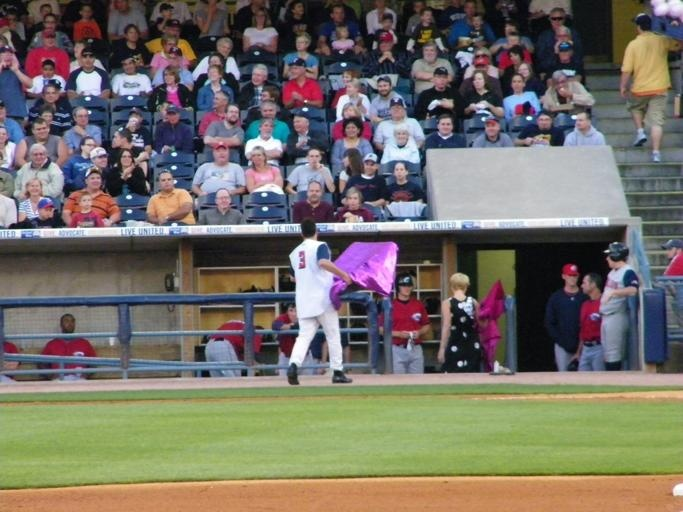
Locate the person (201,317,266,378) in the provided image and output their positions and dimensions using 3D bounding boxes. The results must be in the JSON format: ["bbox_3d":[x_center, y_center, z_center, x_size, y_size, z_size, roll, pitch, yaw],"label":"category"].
[{"bbox_3d":[-1.692,1.452,37.111,0.854,0.925,1.098,-2,-7,-4],"label":"person"}]

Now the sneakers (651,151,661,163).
[{"bbox_3d":[5.428,-1.661,40.019,0.164,0.203,0.507,0,4,9],"label":"sneakers"}]

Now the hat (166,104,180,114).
[{"bbox_3d":[-2.880,-2.503,40.343,0.232,0.192,0.350,-2,-7,-4],"label":"hat"}]

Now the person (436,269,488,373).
[{"bbox_3d":[1.897,1.070,37.017,0.653,1.501,0.489,-2,-7,-1],"label":"person"}]

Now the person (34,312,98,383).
[{"bbox_3d":[-4.358,1.437,37.591,0.859,1.145,1.066,0,-7,-15],"label":"person"}]

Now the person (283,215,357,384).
[{"bbox_3d":[-0.333,0.697,35.360,0.968,2.441,0.743,-2,-7,-2],"label":"person"}]

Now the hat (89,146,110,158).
[{"bbox_3d":[-4.057,-1.707,39.396,0.236,0.220,0.222,0,-7,-15],"label":"hat"}]

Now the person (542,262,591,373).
[{"bbox_3d":[3.804,1.393,38.169,0.864,2.451,0.687,-5,22,-6],"label":"person"}]

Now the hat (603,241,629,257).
[{"bbox_3d":[4.441,-0.091,37.312,0.302,0.167,0.217,8,2,15],"label":"hat"}]

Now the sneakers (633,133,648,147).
[{"bbox_3d":[5.167,-1.946,40.125,0.126,0.227,0.332,7,-6,-4],"label":"sneakers"}]

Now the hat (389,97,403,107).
[{"bbox_3d":[1.008,-2.616,40.458,0.243,0.207,0.341,-2,-7,1],"label":"hat"}]

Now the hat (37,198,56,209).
[{"bbox_3d":[-4.829,-0.856,38.511,0.258,0.243,0.587,-1,-7,-8],"label":"hat"}]

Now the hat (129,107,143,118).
[{"bbox_3d":[-3.525,-2.419,40.552,0.150,0.146,0.251,-2,-27,2],"label":"hat"}]

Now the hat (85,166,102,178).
[{"bbox_3d":[-4.070,-1.374,38.761,0.179,0.141,0.239,-2,-2,-4],"label":"hat"}]

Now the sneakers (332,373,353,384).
[{"bbox_3d":[0.038,1.853,35.565,0.271,0.170,0.143,-1,1,-5],"label":"sneakers"}]

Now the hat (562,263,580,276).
[{"bbox_3d":[3.762,0.230,38.014,0.185,0.143,0.257,0,-3,-6],"label":"hat"}]
